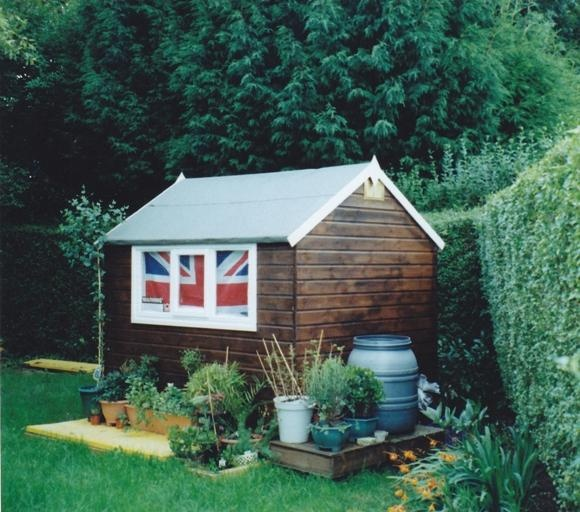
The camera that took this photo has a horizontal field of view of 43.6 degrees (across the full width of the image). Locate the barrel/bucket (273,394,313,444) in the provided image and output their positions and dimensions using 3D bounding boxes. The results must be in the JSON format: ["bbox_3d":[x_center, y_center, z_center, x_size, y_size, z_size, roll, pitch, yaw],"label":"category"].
[{"bbox_3d":[0.024,2.061,9.246,0.503,0.492,0.490,1,-4,0],"label":"barrel/bucket"}]

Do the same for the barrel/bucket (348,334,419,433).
[{"bbox_3d":[1.165,1.678,9.786,0.997,1.193,1.075,0,-1,0],"label":"barrel/bucket"}]

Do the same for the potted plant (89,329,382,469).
[{"bbox_3d":[-0.374,1.714,9.609,2.019,1.259,1.167,-4,5,14],"label":"potted plant"}]
